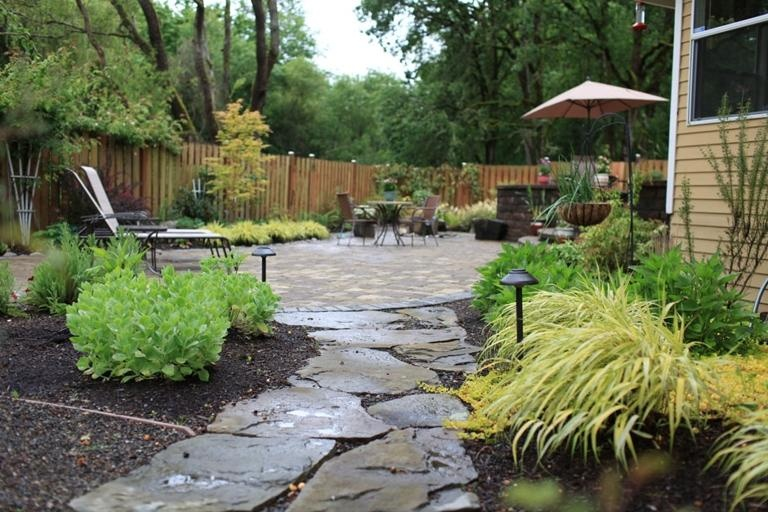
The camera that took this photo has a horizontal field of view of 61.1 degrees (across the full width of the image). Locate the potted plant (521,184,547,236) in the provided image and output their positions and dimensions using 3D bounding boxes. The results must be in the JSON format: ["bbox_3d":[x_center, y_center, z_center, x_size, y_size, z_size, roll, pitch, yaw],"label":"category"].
[{"bbox_3d":[3.379,-0.958,14.341,0.419,1.071,0.414,-6,4,5],"label":"potted plant"}]

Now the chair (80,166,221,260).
[{"bbox_3d":[-3.495,-0.347,9.398,2.292,1.594,1.585,1,3,-11],"label":"chair"}]

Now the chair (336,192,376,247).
[{"bbox_3d":[-0.607,-0.814,14.081,0.769,1.068,0.626,-6,7,-37],"label":"chair"}]

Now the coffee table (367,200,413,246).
[{"bbox_3d":[0.128,-0.830,14.443,0.798,0.915,0.818,-3,-1,33],"label":"coffee table"}]

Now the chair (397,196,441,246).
[{"bbox_3d":[0.760,-0.792,13.910,0.742,1.084,0.664,-1,8,-19],"label":"chair"}]

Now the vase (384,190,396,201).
[{"bbox_3d":[0.130,-1.320,13.997,0.207,0.148,0.214,0,-3,-3],"label":"vase"}]

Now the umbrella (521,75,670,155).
[{"bbox_3d":[2.816,-2.072,8.750,1.303,0.501,2.032,-3,7,-3],"label":"umbrella"}]

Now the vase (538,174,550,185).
[{"bbox_3d":[3.699,-1.780,15.171,0.241,0.190,0.249,0,-1,-2],"label":"vase"}]

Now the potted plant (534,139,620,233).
[{"bbox_3d":[2.413,-0.802,8.183,1.183,0.966,0.840,-18,9,-32],"label":"potted plant"}]
